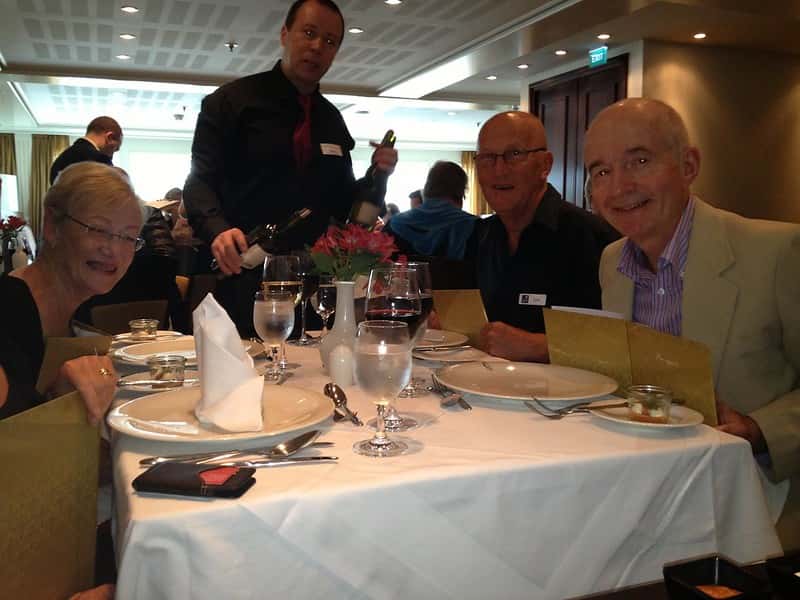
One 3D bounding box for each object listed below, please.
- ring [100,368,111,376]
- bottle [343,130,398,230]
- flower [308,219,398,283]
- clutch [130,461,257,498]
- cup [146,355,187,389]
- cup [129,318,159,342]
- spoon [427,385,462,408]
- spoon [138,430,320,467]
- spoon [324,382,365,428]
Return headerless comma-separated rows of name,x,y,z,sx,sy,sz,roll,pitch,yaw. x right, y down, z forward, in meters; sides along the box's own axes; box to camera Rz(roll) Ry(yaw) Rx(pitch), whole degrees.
ring,-0.608,0.149,1.150,0.013,0.008,0.018,0,6,-22
bottle,-0.135,-0.475,2.526,0.182,0.282,0.669,1,11,-5
flower,-0.131,-0.145,1.464,0.174,0.121,0.168,-4,19,-17
clutch,-0.310,0.273,0.851,0.111,0.019,0.068,2,3,-3
cup,-0.567,0.172,1.363,0.075,0.058,0.075,3,2,0
cup,-0.890,0.099,1.947,0.082,0.064,0.081,1,5,0
spoon,0.107,0.227,1.304,0.033,0.022,0.124,-6,-4,-8
spoon,-0.303,0.261,0.971,0.254,0.039,0.043,0,6,-24
spoon,-0.123,0.226,1.239,0.037,0.029,0.200,-3,11,-14
